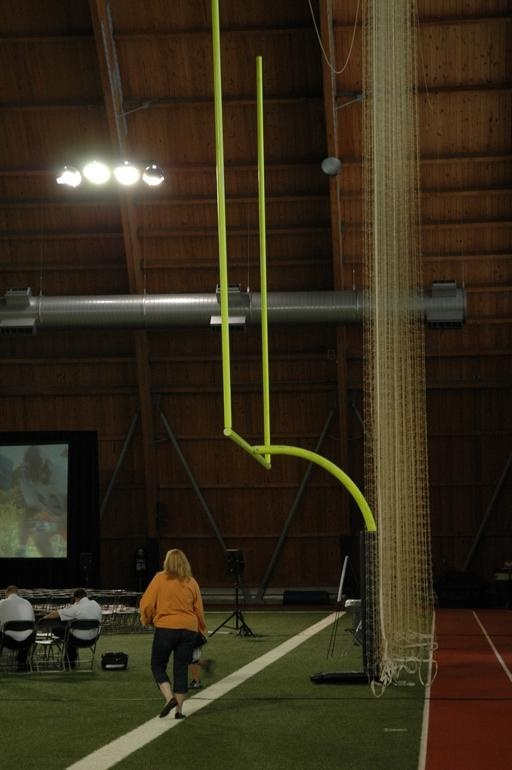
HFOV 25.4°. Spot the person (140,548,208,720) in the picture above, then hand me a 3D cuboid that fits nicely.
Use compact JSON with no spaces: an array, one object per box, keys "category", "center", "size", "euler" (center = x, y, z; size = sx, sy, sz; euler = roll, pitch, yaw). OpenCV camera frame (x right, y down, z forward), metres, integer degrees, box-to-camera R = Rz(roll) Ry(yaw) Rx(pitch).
[{"category":"person","center":[-0.721,2.093,9.757],"size":[0.556,1.419,0.535],"euler":[2,-31,-3]}]

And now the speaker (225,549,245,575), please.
[{"category":"speaker","center":[-0.311,2.542,16.491],"size":[0.222,0.475,0.426],"euler":[0,-32,1]}]

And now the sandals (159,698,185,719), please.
[{"category":"sandals","center":[-0.718,2.723,9.574],"size":[0.128,0.122,0.361],"euler":[-3,-41,-17]}]
